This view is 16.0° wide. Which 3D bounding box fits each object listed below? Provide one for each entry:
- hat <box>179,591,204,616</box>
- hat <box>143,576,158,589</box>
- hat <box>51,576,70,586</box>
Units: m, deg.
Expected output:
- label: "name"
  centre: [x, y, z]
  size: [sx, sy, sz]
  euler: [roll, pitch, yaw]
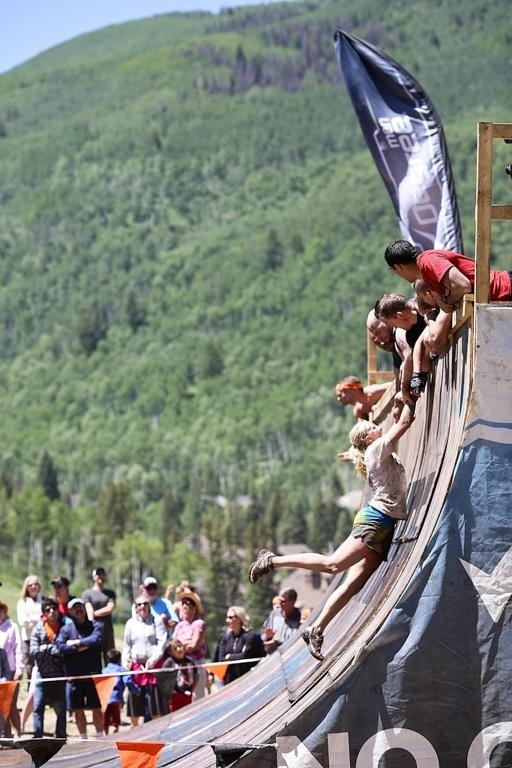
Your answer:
- label: "hat"
  centre: [-1.252, 4.552, 37.960]
  size: [0.145, 0.541, 0.435]
  euler: [-25, 12, -37]
- label: "hat"
  centre: [-2.174, 4.151, 38.114]
  size: [0.233, 0.227, 0.389]
  euler: [-3, -7, -9]
- label: "hat"
  centre: [-4.070, 4.140, 37.965]
  size: [0.368, 0.144, 0.354]
  euler: [-10, 6, -4]
